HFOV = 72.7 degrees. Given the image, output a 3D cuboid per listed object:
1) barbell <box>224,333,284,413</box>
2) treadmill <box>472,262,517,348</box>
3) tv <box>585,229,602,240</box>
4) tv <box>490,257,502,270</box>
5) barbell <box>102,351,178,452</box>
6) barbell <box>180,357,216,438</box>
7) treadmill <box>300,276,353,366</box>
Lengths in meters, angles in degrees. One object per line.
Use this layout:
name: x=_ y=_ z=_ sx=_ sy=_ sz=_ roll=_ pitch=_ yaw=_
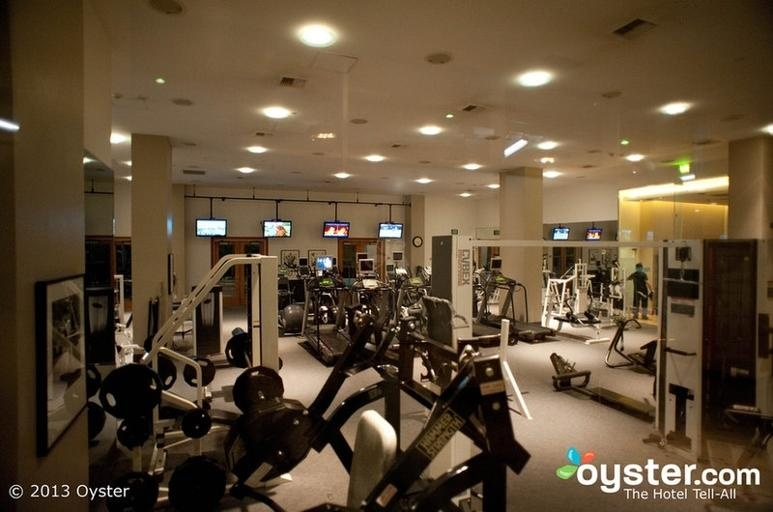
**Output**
barbell: x=-1.527 y=1.360 z=5.960 sx=0.751 sy=1.009 sz=0.834 roll=2 pitch=0 yaw=-15
treadmill: x=2.026 y=0.904 z=10.153 sx=0.763 sy=1.297 sz=2.228 roll=2 pitch=-3 yaw=-12
tv: x=4.259 y=-0.443 z=10.812 sx=0.351 sy=0.325 sz=0.175 roll=4 pitch=-10 yaw=-7
tv: x=2.018 y=0.145 z=9.768 sx=0.250 sy=0.205 sz=0.139 roll=-1 pitch=5 yaw=-35
barbell: x=-2.335 y=1.334 z=4.817 sx=0.575 sy=0.766 sz=0.181 roll=-1 pitch=10 yaw=-10
barbell: x=-2.128 y=1.610 z=5.921 sx=0.523 sy=1.009 sz=0.615 roll=2 pitch=0 yaw=-15
treadmill: x=-1.115 y=1.162 z=9.701 sx=0.719 sy=1.233 sz=1.841 roll=2 pitch=-5 yaw=-11
